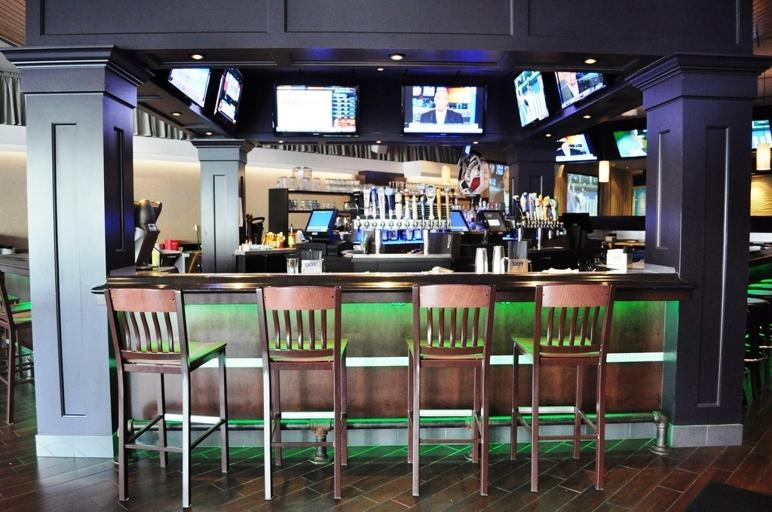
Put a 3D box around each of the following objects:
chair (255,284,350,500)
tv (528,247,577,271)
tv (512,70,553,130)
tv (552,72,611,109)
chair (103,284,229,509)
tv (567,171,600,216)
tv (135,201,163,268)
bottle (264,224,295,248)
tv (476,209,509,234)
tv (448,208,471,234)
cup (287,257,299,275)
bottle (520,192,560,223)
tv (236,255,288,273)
[{"bbox_3d":[-0.714,1.155,6.107,0.794,1.777,0.867,-3,0,-9],"label":"chair"},{"bbox_3d":[1.974,0.028,8.248,0.200,0.277,1.055,-3,-1,37],"label":"tv"},{"bbox_3d":[1.820,-1.963,8.598,0.095,0.815,0.821,-13,3,-10],"label":"tv"},{"bbox_3d":[2.169,-1.851,7.677,0.044,0.571,0.577,-37,5,-14],"label":"tv"},{"bbox_3d":[-1.965,1.182,6.107,0.972,1.792,0.898,-3,0,33],"label":"chair"},{"bbox_3d":[4.978,-1.600,17.554,1.300,1.090,0.341,-2,-1,-39],"label":"tv"},{"bbox_3d":[-2.463,-0.246,7.166,0.213,0.647,0.474,-3,0,-16],"label":"tv"},{"bbox_3d":[-1.599,-0.280,10.174,0.396,0.352,0.287,2,4,22],"label":"bottle"},{"bbox_3d":[1.215,-0.415,8.057,0.327,0.281,0.267,-3,0,-14],"label":"tv"},{"bbox_3d":[0.842,-0.425,8.016,0.224,0.261,0.417,-3,-1,6],"label":"tv"},{"bbox_3d":[-0.934,0.100,6.878,0.169,0.170,0.158,2,0,0],"label":"cup"},{"bbox_3d":[1.840,-0.570,8.368,0.545,0.382,0.217,-2,-1,-30],"label":"bottle"},{"bbox_3d":[-1.709,0.104,9.547,0.647,0.249,1.112,-2,-1,-10],"label":"tv"}]
